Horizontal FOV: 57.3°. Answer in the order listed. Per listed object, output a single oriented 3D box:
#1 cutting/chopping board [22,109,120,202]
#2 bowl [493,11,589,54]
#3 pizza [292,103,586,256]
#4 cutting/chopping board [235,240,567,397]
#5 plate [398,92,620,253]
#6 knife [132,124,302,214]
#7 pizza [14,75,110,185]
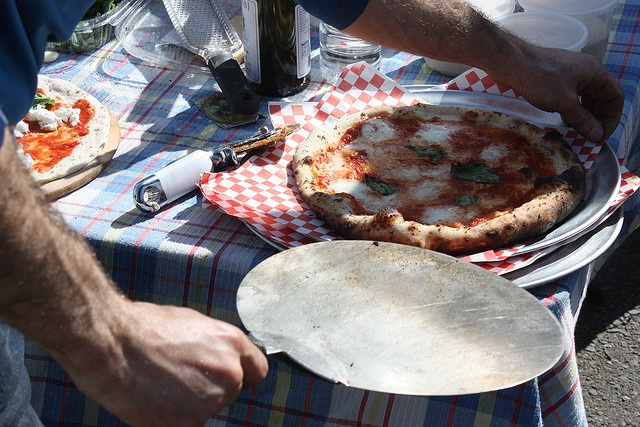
[{"bbox_3d":[-0.632,-0.177,1.523,0.188,0.030,0.220,-12,40,10],"label":"cutting/chopping board"},{"bbox_3d":[0.728,-0.635,1.884,0.326,0.082,0.345,3,20,-1],"label":"bowl"},{"bbox_3d":[0.301,-0.095,1.524,0.497,0.086,0.464,-21,42,-32],"label":"pizza"},{"bbox_3d":[0.149,0.204,1.204,0.653,0.030,0.336,5,51,4],"label":"cutting/chopping board"},{"bbox_3d":[0.630,-0.138,1.554,0.433,0.048,0.443,0,37,0],"label":"plate"},{"bbox_3d":[-0.250,-0.140,1.527,0.499,0.108,0.083,-27,14,-24],"label":"knife"},{"bbox_3d":[-0.729,-0.230,1.665,0.316,0.053,0.354,-26,61,-16],"label":"pizza"}]
